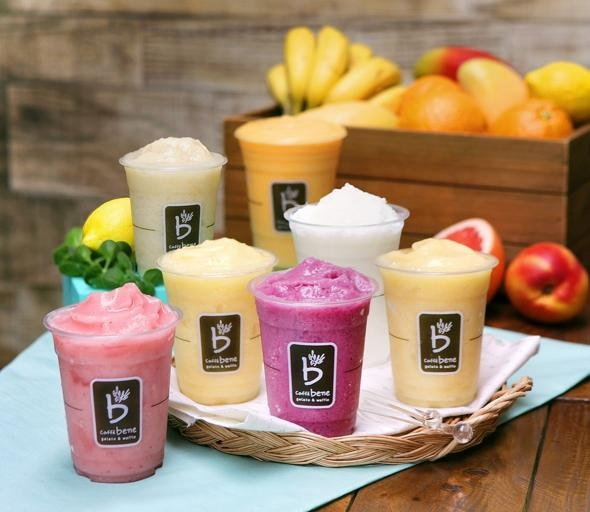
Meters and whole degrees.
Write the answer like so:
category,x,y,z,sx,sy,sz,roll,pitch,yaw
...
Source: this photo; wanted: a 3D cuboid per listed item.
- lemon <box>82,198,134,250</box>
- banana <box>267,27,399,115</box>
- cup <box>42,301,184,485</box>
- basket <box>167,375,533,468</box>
category,x,y,z,sx,sy,sz,roll,pitch,yaw
lemon,-0.309,-0.053,1.246,0.111,0.096,0.106,-3,26,1
banana,0.094,-0.436,1.562,0.319,0.202,0.192,-1,17,-2
cup,-0.207,0.150,0.791,0.182,0.167,0.151,-2,12,-17
basket,0.080,0.203,0.797,0.467,0.054,0.124,-2,15,-5
